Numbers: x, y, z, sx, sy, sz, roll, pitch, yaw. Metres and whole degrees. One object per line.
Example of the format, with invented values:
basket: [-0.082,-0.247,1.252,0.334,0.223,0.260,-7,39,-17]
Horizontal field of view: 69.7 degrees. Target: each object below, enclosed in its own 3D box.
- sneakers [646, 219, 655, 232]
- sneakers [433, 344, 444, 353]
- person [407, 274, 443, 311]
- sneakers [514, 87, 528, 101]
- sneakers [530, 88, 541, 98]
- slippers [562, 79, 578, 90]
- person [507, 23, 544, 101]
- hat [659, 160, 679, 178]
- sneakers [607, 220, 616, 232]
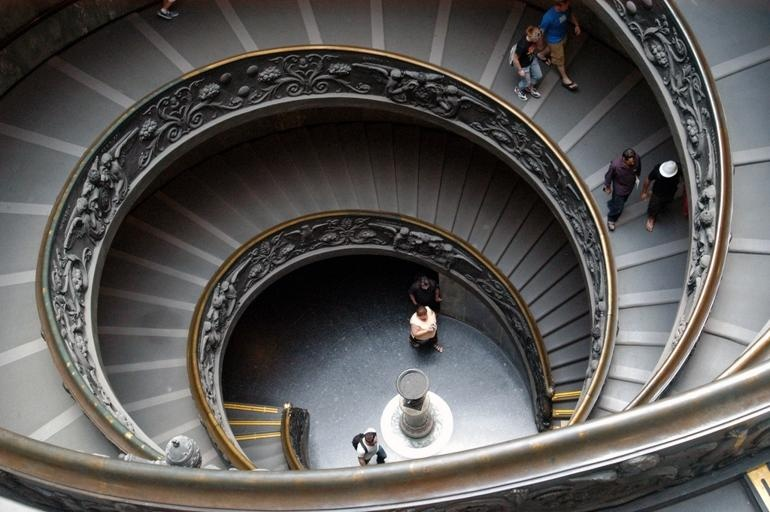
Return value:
sneakers: [4.742,-0.548,9.875,0.081,0.111,0.282,1,-106,15]
sneakers: [1.414,2.471,14.680,0.153,0.091,0.285,-20,-114,-10]
person: [1.057,1.149,14.757,0.735,0.519,1.806,-13,-42,0]
sneakers: [2.881,-3.388,11.755,0.376,0.168,0.154,41,-81,10]
sneakers: [3.134,-3.404,11.663,0.108,0.124,0.317,-43,-105,0]
slippers: [3.877,-3.540,11.589,0.293,0.117,0.167,32,-102,11]
person: [2.890,-3.927,11.212,0.583,1.653,0.455,-22,-124,-3]
hat: [4.636,-1.407,8.973,0.363,0.222,0.248,-17,-77,2]
sneakers: [4.167,-0.544,10.159,0.105,0.072,0.225,-3,-99,4]
